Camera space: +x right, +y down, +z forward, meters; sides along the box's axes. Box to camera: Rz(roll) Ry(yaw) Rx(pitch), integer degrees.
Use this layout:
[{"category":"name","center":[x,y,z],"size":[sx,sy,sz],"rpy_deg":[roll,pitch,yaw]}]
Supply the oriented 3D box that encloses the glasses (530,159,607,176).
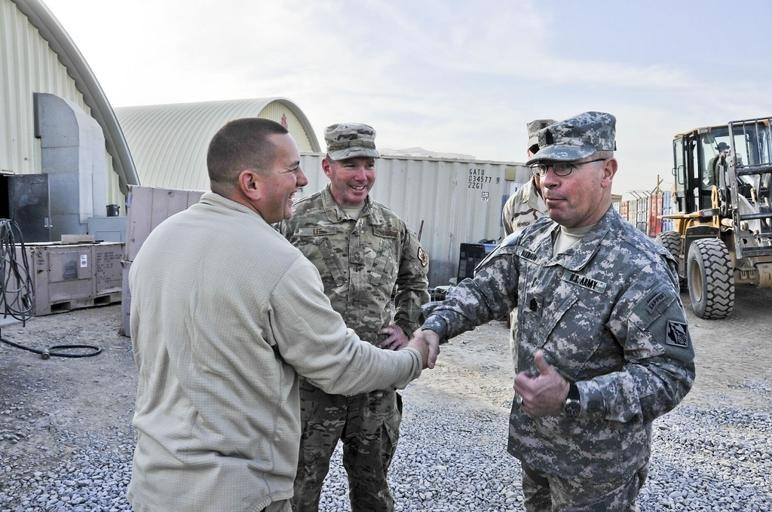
[{"category":"glasses","center":[0.949,-0.468,3.009],"size":[0.175,0.045,0.162],"rpy_deg":[-3,-3,-25]}]

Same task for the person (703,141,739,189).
[{"category":"person","center":[5.634,-1.555,9.603],"size":[0.558,0.740,0.237],"rpy_deg":[-17,20,-42]}]

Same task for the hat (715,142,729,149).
[{"category":"hat","center":[5.678,-1.850,9.570],"size":[0.134,0.057,0.148],"rpy_deg":[-7,8,18]}]
